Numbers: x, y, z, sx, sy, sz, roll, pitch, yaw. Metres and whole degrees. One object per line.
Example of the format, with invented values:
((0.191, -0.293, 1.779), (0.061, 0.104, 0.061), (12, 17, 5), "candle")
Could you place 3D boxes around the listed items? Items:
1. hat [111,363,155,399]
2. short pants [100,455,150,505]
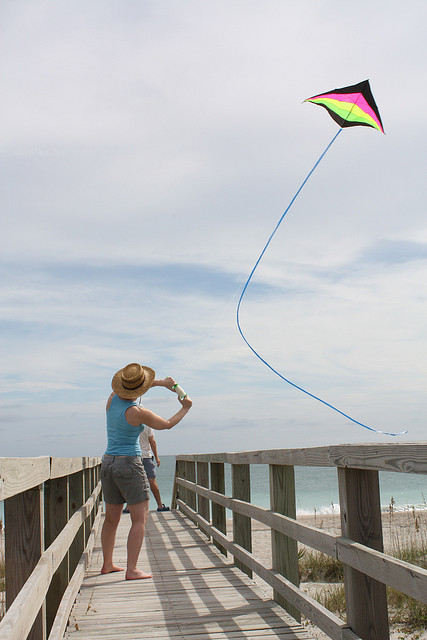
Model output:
((-0.483, 0.390, 3.697), (0.320, 0.221, 0.310), (1, -4, -31), "hat")
((-0.583, 0.988, 3.643), (0.354, 0.315, 0.228), (-9, -10, 30), "short pants")
